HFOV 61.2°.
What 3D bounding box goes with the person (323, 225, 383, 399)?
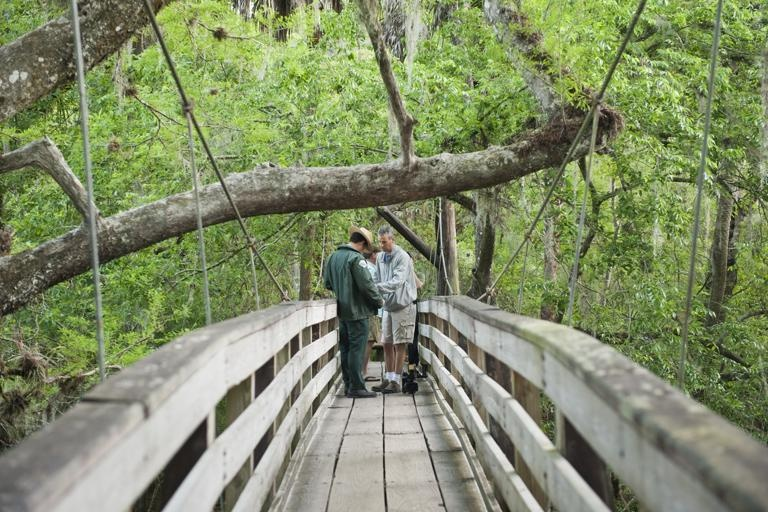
[{"bbox_3d":[-0.347,0.782,7.440,0.599,1.691,1.166,-3,22,-6],"label":"person"}]
